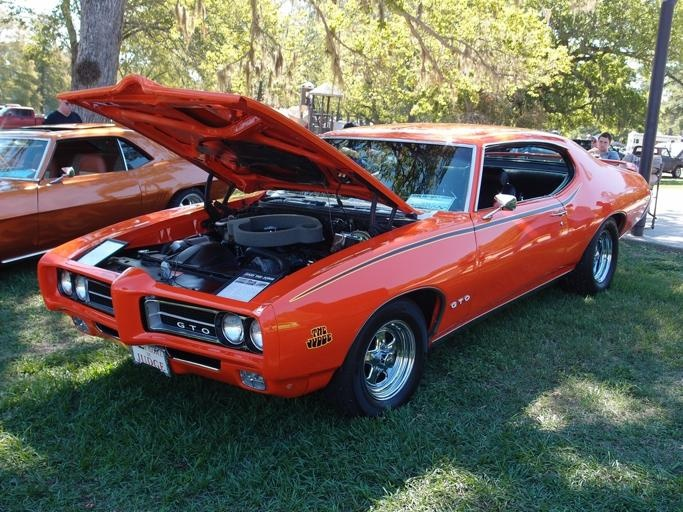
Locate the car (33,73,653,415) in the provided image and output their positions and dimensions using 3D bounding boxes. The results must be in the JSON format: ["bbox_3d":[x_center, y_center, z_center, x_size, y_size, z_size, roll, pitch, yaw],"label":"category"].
[{"bbox_3d":[0.601,-0.287,4.686,5.352,1.755,2.584,-13,16,-42],"label":"car"}]

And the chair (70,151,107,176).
[{"bbox_3d":[-3.395,-1.265,6.567,0.359,0.410,0.390,-5,21,-23],"label":"chair"}]
